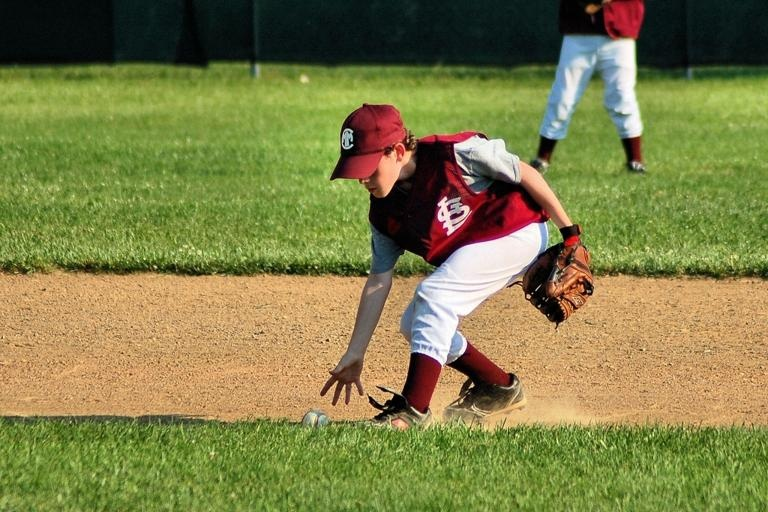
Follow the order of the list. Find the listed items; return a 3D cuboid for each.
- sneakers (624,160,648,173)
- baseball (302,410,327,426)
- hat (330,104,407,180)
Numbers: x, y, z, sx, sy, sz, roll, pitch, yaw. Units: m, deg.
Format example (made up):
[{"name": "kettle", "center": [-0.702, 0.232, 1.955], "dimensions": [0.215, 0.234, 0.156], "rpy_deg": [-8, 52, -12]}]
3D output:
[{"name": "sneakers", "center": [3.256, -1.171, 18.220], "dimensions": [0.220, 0.166, 0.123], "rpy_deg": [17, 38, 22]}, {"name": "baseball", "center": [-0.648, 1.569, 13.760], "dimensions": [0.157, 0.075, 0.166], "rpy_deg": [-5, 13, -17]}, {"name": "hat", "center": [-0.130, -1.092, 13.623], "dimensions": [0.710, 0.687, 0.353], "rpy_deg": [1, 13, -2]}]
